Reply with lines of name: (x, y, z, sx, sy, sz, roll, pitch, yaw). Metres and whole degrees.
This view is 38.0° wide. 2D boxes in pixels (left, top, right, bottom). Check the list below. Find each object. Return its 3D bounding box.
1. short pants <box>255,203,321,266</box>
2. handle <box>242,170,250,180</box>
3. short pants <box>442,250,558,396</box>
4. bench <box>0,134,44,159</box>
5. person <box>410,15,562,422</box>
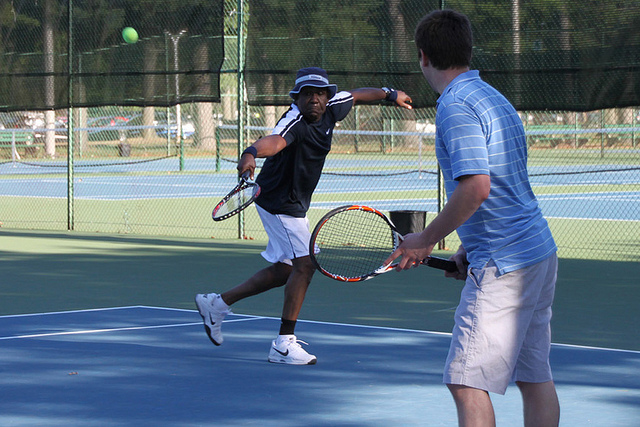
short pants: (-0.280, 0.182, 7.665, 0.521, 0.499, 0.215, 5, 12, 34)
handle: (-0.552, -0.292, 6.967, 0.062, 0.064, 0.039, -4, 10, -19)
short pants: (1.070, 0.642, 5.383, 0.758, 0.804, 0.264, -7, 11, -31)
bench: (-10.309, -2.306, 32.043, 1.356, 0.695, 0.492, 1, 2, -31)
person: (0.941, 0.079, 5.275, 0.839, 2.397, 0.545, 1, 10, 12)
